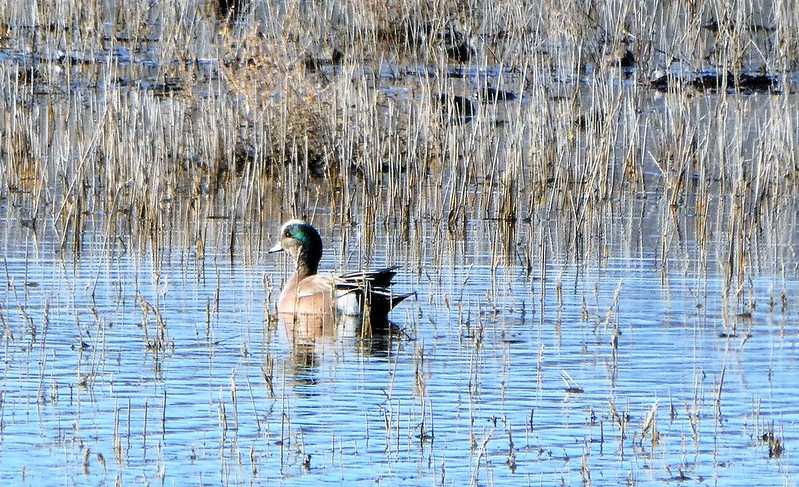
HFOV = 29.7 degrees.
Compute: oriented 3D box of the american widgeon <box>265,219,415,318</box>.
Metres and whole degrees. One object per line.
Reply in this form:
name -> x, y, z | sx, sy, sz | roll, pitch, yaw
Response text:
american widgeon -> -0.744, 0.408, 17.242 | 1.882, 1.247, 0.663 | 2, -9, 24
